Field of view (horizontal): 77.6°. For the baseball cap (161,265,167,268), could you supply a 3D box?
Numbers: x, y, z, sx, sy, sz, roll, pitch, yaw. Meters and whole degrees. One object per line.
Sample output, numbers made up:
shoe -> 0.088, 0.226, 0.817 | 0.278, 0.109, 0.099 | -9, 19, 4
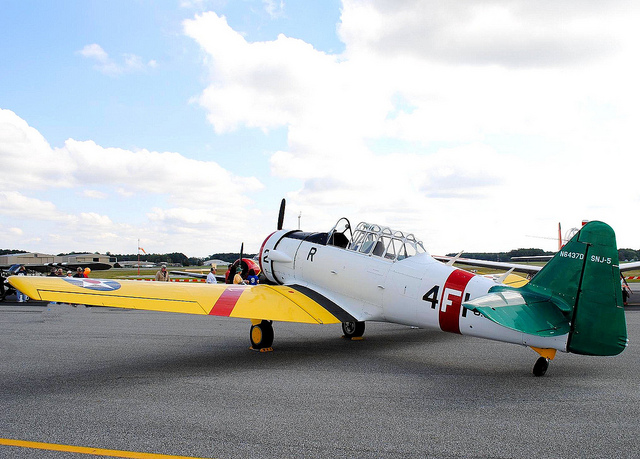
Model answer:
baseball cap -> -7.012, 1.725, 17.790 | 0.255, 0.095, 0.221 | -8, 7, -22

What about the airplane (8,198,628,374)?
airplane -> 0.843, 1.220, 8.767 | 8.797, 2.914, 4.295 | -1, -4, 9

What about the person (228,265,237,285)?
person -> -4.081, 2.154, 18.445 | 0.233, 0.760, 0.676 | 15, -21, 11
